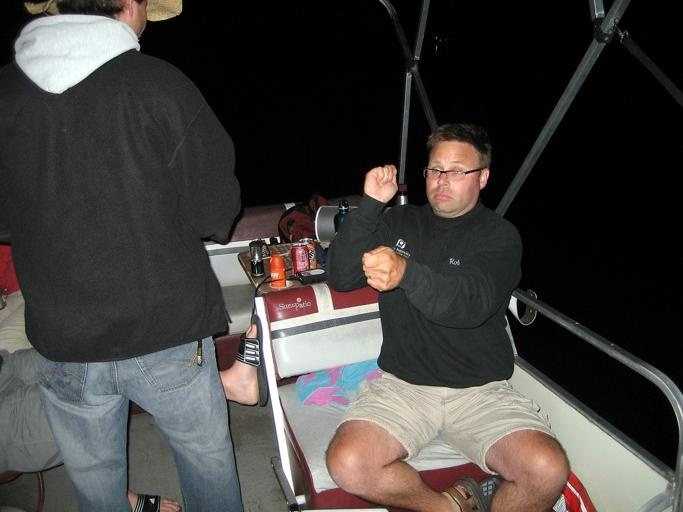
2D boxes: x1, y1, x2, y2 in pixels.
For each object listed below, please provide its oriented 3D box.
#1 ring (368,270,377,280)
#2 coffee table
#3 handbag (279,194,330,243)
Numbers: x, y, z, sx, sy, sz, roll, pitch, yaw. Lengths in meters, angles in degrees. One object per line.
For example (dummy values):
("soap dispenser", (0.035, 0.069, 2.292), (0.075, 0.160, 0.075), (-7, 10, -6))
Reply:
("ring", (0.117, 0.074, 1.987), (0.022, 0.030, 0.014), (21, 54, 5))
("coffee table", (-0.380, 0.113, 3.248), (0.416, 0.098, 0.419), (-10, 29, -15))
("handbag", (-0.310, -0.284, 3.917), (0.325, 0.365, 0.365), (-5, 22, -28))
